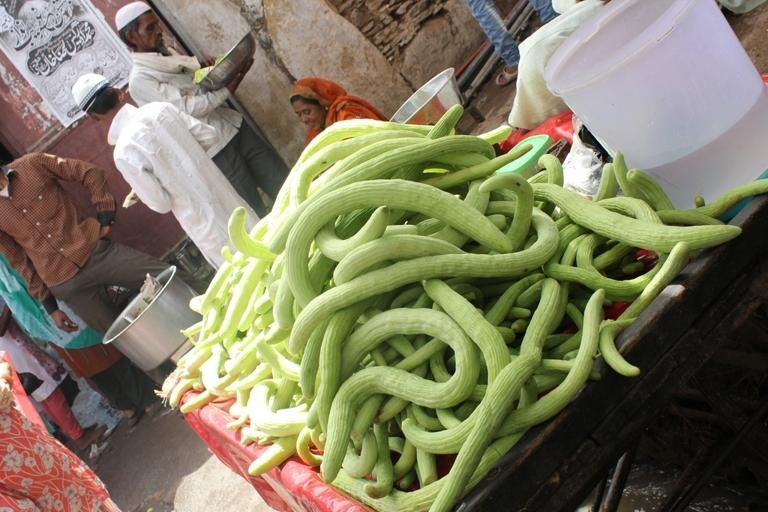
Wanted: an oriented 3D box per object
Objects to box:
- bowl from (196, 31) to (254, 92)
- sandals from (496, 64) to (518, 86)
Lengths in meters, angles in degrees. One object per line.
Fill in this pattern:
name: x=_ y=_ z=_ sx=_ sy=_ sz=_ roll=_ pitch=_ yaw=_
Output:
bowl: x=-1.278 y=-1.560 z=5.388 sx=0.464 sy=0.164 sz=0.448 roll=-44 pitch=9 yaw=9
sandals: x=1.070 y=-1.574 z=5.723 sx=0.084 sy=0.159 sz=0.302 roll=0 pitch=-8 yaw=-3
